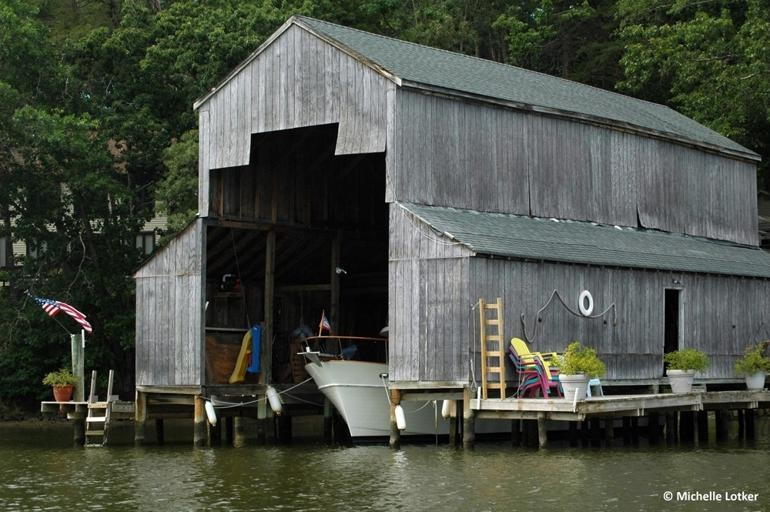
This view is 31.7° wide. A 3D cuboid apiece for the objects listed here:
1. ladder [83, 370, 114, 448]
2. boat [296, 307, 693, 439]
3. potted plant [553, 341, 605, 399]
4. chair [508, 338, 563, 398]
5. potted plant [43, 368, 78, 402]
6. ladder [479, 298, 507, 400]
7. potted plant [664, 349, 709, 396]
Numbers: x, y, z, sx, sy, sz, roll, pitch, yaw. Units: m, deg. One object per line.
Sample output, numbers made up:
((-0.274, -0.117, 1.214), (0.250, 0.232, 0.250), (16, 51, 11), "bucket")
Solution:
((-10.422, 5.594, 49.244), (1.116, 2.715, 0.441), (-2, -12, 22), "ladder")
((3.736, 4.807, 50.536), (17.924, 5.750, 4.060), (2, -10, -14), "boat")
((6.331, 3.859, 44.848), (1.485, 1.902, 1.188), (4, -8, -39), "potted plant")
((5.530, 3.970, 46.150), (1.268, 2.380, 2.433), (2, -6, -26), "chair")
((-12.134, 4.947, 51.050), (0.760, 1.131, 1.303), (2, -7, -27), "potted plant")
((3.500, 3.151, 45.560), (0.987, 3.294, 0.826), (1, -2, -19), "ladder")
((10.601, 4.196, 48.631), (1.876, 1.831, 1.451), (2, -8, -4), "potted plant")
